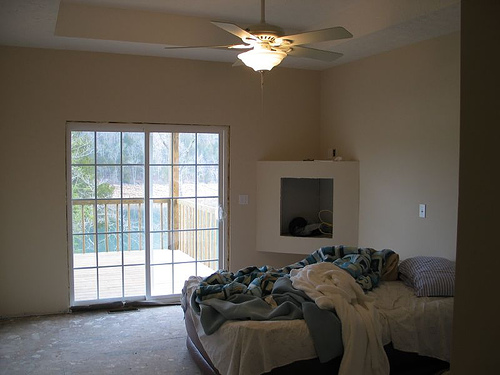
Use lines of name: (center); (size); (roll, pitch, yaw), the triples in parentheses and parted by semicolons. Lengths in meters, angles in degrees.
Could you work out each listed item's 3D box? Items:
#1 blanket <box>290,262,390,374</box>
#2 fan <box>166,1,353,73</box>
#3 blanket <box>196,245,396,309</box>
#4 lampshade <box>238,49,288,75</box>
blanket: (0.652, 0.885, 2.695); (0.462, 0.317, 0.679); (-1, 5, -8)
fan: (0.216, -0.926, 2.505); (0.827, 0.278, 0.587); (1, 3, 5)
blanket: (0.349, 0.710, 3.143); (1.034, 0.200, 0.688); (-4, -7, -18)
lampshade: (0.076, -0.877, 2.625); (0.393, 0.152, 0.396); (17, 24, 35)
